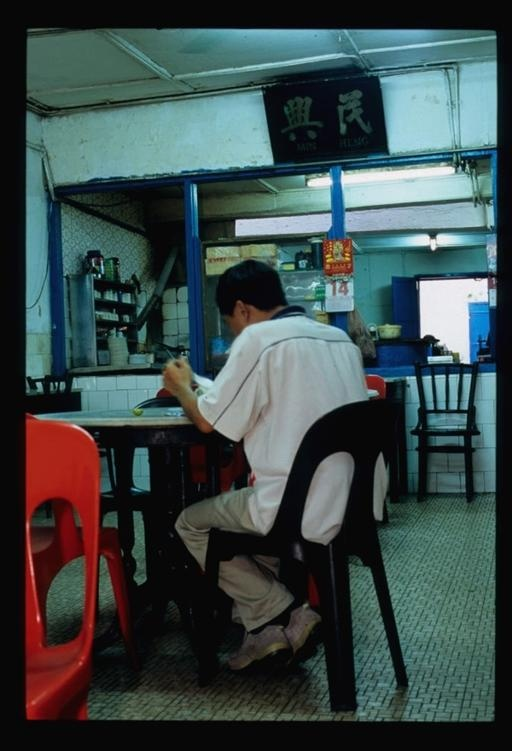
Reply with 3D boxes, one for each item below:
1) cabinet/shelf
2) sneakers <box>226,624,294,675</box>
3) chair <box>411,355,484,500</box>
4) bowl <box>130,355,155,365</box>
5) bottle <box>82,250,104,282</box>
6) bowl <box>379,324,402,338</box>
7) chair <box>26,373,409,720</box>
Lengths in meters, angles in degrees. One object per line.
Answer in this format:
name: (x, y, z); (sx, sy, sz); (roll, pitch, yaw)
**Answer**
cabinet/shelf: (-1.715, -0.507, 6.611); (0.260, 0.835, 0.839); (1, -4, 8)
sneakers: (-0.014, 0.881, 1.951); (0.233, 0.104, 0.088); (-37, -41, 22)
chair: (1.576, 0.434, 5.007); (0.534, 1.087, 0.710); (-3, -2, 20)
bowl: (-1.246, -0.176, 6.663); (0.243, 0.095, 0.179); (3, 1, 40)
bottle: (-1.754, -1.172, 6.546); (0.282, 0.424, 0.294); (-2, 1, 0)
bowl: (1.476, -0.480, 6.726); (0.196, 0.136, 0.185); (0, 3, 0)
chair: (-0.018, 0.493, 1.989); (0.929, 0.757, 0.921); (-2, -2, 19)
